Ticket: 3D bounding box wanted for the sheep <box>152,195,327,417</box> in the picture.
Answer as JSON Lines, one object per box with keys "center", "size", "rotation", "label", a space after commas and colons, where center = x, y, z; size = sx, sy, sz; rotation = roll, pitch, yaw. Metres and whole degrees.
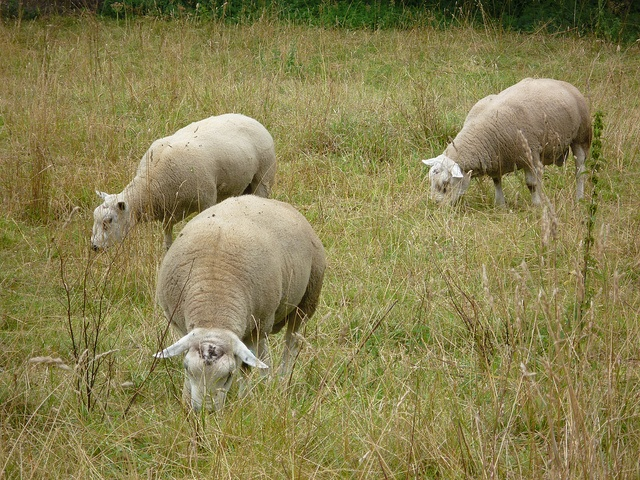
{"center": [-0.656, 0.572, 6.597], "size": [1.027, 1.801, 2.534], "rotation": [0, 18, 11], "label": "sheep"}
